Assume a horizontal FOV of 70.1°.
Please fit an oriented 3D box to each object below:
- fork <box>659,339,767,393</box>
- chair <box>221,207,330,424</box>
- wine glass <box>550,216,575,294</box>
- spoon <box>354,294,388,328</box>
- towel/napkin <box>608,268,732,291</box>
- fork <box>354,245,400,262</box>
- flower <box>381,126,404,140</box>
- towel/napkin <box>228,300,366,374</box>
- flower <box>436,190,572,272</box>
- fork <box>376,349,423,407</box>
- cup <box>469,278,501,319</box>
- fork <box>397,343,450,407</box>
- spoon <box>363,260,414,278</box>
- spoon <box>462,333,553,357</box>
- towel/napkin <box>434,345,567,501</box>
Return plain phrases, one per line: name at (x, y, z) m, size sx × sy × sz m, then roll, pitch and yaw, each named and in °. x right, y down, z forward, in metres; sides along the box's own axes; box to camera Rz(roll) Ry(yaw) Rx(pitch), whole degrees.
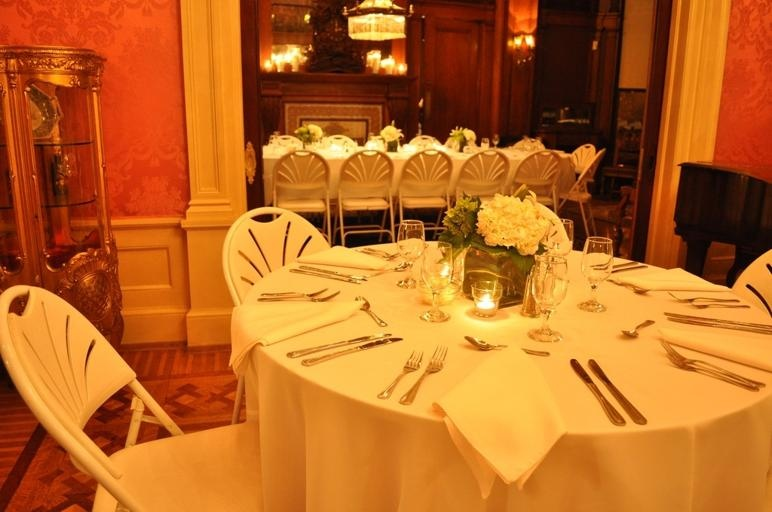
fork at (1.034, 0.351, 1.733) m, size 0.269 × 0.049 × 0.038 m, roll 20°, pitch 35°, yaw 35°
chair at (-0.509, 0.283, 3.111) m, size 0.598 × 1.043 × 0.779 m, roll -7°, pitch -4°, yaw 6°
wine glass at (0.844, -0.009, 2.604) m, size 0.119 × 0.368 × 0.111 m, roll -5°, pitch 24°, yaw 13°
spoon at (-0.051, 0.196, 2.062) m, size 0.050 × 0.036 × 0.238 m, roll -13°, pitch 26°, yaw -12°
towel/napkin at (1.175, 0.106, 2.311) m, size 0.260 × 0.044 × 0.207 m, roll 0°, pitch 7°, yaw -7°
fork at (-0.030, -0.020, 2.681) m, size 0.137 × 0.045 × 0.090 m, roll 21°, pitch 26°, yaw 17°
flower at (0.006, -1.462, 6.544) m, size 0.285 × 0.139 × 0.285 m, roll -18°, pitch 25°, yaw -39°
towel/napkin at (-0.337, 0.234, 1.943) m, size 0.348 × 0.113 × 0.271 m, roll -6°, pitch 15°, yaw -18°
flower at (0.422, -0.117, 2.116) m, size 0.497 × 0.263 × 0.491 m, roll -10°, pitch 0°, yaw 7°
fork at (0.064, 0.352, 1.716) m, size 0.052 × 0.049 × 0.322 m, roll -7°, pitch 21°, yaw 29°
cup at (0.371, 0.162, 2.043) m, size 0.114 × 0.127 × 0.116 m, roll 3°, pitch 0°, yaw 0°
fork at (0.138, 0.352, 1.717) m, size 0.061 × 0.050 × 0.357 m, roll -8°, pitch 27°, yaw 33°
spoon at (0.004, 0.057, 2.425) m, size 0.200 × 0.031 × 0.036 m, roll -10°, pitch 38°, yaw -24°
spoon at (0.403, 0.297, 1.828) m, size 0.235 × 0.038 × 0.048 m, roll 2°, pitch 11°, yaw 25°
towel/napkin at (0.326, 0.488, 1.598) m, size 0.350 × 0.121 × 0.316 m, roll -30°, pitch 65°, yaw -16°
